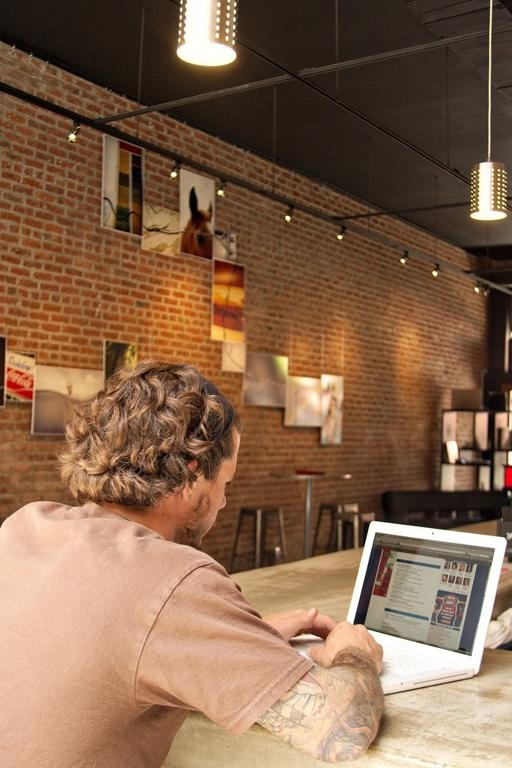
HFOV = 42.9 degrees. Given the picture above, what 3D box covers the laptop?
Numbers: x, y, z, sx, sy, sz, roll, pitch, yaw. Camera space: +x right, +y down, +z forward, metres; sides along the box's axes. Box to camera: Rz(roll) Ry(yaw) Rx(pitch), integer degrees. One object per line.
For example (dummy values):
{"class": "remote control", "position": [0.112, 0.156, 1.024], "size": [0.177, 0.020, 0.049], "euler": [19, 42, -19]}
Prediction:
{"class": "laptop", "position": [0.273, 0.409, 1.337], "size": [0.327, 0.264, 0.365], "euler": [2, -6, -31]}
